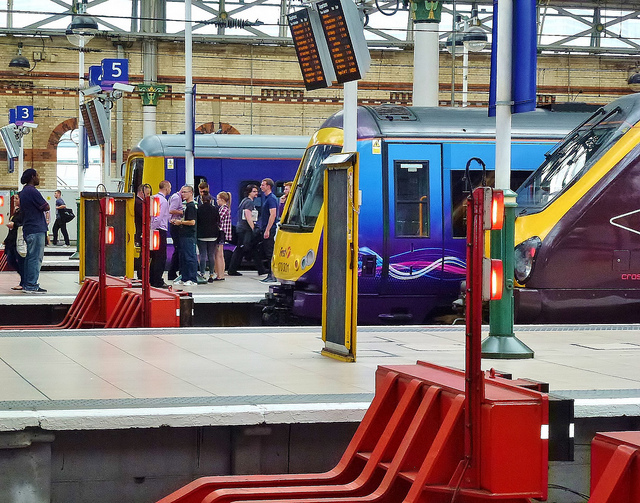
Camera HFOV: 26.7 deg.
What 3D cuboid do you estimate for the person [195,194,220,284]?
[{"bbox_3d":[-2.222,-0.217,26.957,0.481,1.805,0.840,0,7,-5],"label":"person"}]

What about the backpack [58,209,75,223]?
[{"bbox_3d":[-7.826,-1.118,41.826,0.434,0.424,0.311,14,-17,-26],"label":"backpack"}]

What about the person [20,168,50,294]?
[{"bbox_3d":[-5.079,-0.329,24.097,0.473,2.245,0.653,-1,7,-12],"label":"person"}]

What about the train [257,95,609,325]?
[{"bbox_3d":[2.447,-0.563,23.822,7.643,4.007,2.450,-2,3,-37],"label":"train"}]
